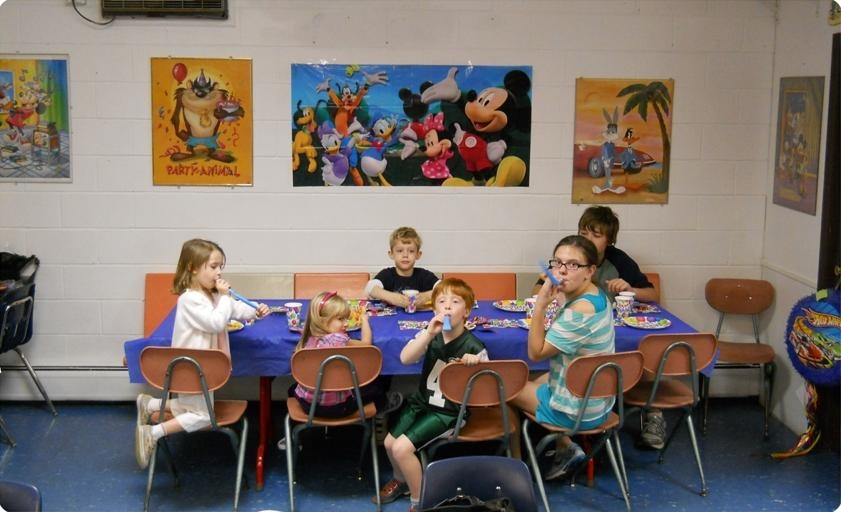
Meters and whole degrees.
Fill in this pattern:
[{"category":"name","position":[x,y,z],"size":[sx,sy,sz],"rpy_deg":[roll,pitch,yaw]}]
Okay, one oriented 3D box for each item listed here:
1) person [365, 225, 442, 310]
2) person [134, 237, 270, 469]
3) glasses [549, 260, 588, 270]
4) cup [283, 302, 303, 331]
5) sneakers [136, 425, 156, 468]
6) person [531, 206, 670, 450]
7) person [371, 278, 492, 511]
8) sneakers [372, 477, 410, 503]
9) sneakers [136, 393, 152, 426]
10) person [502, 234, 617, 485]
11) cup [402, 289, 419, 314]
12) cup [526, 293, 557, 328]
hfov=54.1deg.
[{"category":"person","position":[-0.133,0.187,6.814],"size":[0.597,0.818,0.747],"rpy_deg":[1,9,-6]},{"category":"person","position":[-1.638,0.735,6.098],"size":[0.961,1.688,0.527],"rpy_deg":[-5,13,-20]},{"category":"glasses","position":[1.045,0.063,5.869],"size":[0.261,0.062,0.075],"rpy_deg":[3,12,13]},{"category":"cup","position":[-0.954,0.479,6.358],"size":[0.189,0.221,0.180],"rpy_deg":[0,-3,0]},{"category":"sneakers","position":[-2.013,1.376,6.093],"size":[0.159,0.352,0.116],"rpy_deg":[3,13,2]},{"category":"person","position":[1.505,0.494,7.245],"size":[0.876,1.888,0.571],"rpy_deg":[4,23,12]},{"category":"person","position":[0.085,1.015,6.048],"size":[0.769,1.663,0.537],"rpy_deg":[-1,13,-4]},{"category":"sneakers","position":[-0.194,1.770,6.238],"size":[0.336,0.143,0.120],"rpy_deg":[3,-3,-37]},{"category":"sneakers","position":[-2.068,1.149,6.193],"size":[0.115,0.277,0.093],"rpy_deg":[0,4,8]},{"category":"person","position":[1.037,0.556,5.957],"size":[0.711,1.385,0.332],"rpy_deg":[3,13,14]},{"category":"cup","position":[-0.073,0.359,6.567],"size":[0.158,0.172,0.151],"rpy_deg":[1,2,0]},{"category":"cup","position":[0.920,0.409,6.229],"size":[0.257,0.197,0.230],"rpy_deg":[0,6,10]}]
